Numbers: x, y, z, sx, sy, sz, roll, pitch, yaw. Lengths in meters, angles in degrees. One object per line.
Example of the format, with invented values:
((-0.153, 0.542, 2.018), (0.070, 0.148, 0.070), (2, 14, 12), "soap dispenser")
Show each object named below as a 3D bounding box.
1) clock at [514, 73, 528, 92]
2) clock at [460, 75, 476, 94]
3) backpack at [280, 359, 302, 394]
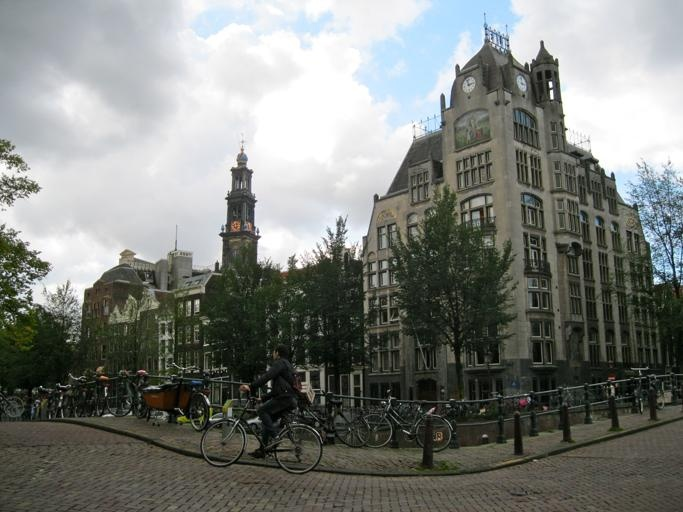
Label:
((14.303, -13.980, 51.291), (1.547, 1.523, 0.112), (33, -36, -34), "clock")
((10.171, -13.880, 51.469), (0.254, 1.498, 1.510), (17, -23, -34), "clock")
((-1.345, 2.899, 15.256), (0.687, 0.632, 0.410), (-25, -15, 34), "backpack")
